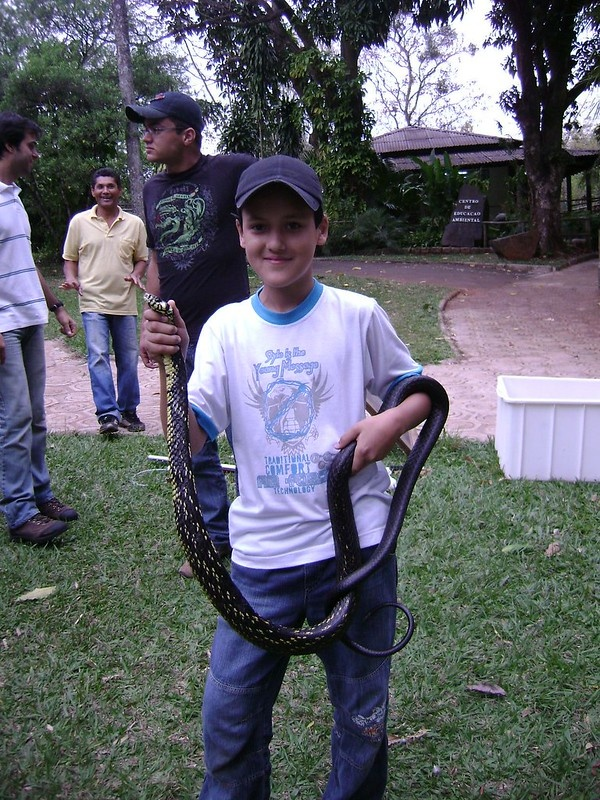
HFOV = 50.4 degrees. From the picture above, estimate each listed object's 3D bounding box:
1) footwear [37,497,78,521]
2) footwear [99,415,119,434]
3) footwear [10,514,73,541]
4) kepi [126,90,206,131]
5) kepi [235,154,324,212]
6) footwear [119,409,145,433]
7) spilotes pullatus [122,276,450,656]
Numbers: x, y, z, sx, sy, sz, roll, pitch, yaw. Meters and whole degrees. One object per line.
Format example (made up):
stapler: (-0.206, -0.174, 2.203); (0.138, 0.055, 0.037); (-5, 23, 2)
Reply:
footwear: (-1.313, 0.608, 3.433); (0.237, 0.113, 0.091); (11, 24, 14)
footwear: (-1.522, 0.205, 5.065); (0.149, 0.155, 0.172); (-7, 14, -20)
footwear: (-1.304, 0.655, 3.183); (0.279, 0.152, 0.126); (-4, 15, 4)
kepi: (-0.608, -1.298, 2.862); (0.330, 0.196, 0.308); (-7, 15, -17)
kepi: (-0.042, -0.434, 1.291); (0.172, 0.116, 0.202); (-3, 14, -4)
footwear: (-1.459, 0.195, 5.513); (0.109, 0.152, 0.320); (-2, 9, -32)
spilotes pullatus: (0.045, 0.154, 1.268); (0.621, 0.734, 0.377); (-6, 14, -15)
